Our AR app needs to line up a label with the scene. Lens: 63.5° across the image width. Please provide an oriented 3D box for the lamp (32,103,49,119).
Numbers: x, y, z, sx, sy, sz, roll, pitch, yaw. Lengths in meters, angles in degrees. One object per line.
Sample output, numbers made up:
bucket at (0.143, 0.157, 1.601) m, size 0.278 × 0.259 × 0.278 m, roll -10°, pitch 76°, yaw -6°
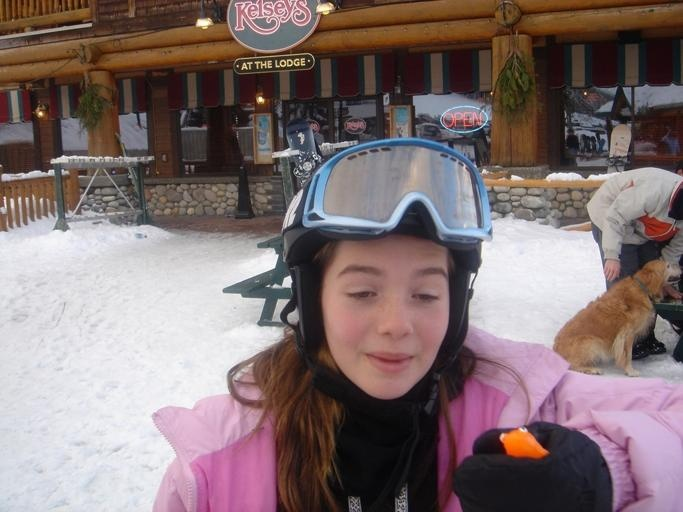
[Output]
lamp at (-9.034, -4.421, 16.728) m, size 0.333 × 0.424 × 0.570 m, roll -3°, pitch 9°, yaw -5°

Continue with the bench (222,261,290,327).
bench at (-0.756, 0.333, 5.497) m, size 0.496 × 0.371 × 1.153 m, roll 3°, pitch 11°, yaw 9°

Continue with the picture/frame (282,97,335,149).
picture/frame at (-0.873, -3.589, 14.853) m, size 1.329 × 1.685 × 0.103 m, roll -3°, pitch -27°, yaw -5°

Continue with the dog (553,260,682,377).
dog at (2.121, 0.505, 4.567) m, size 1.189 × 0.872 × 0.426 m, roll -3°, pitch 6°, yaw 2°
